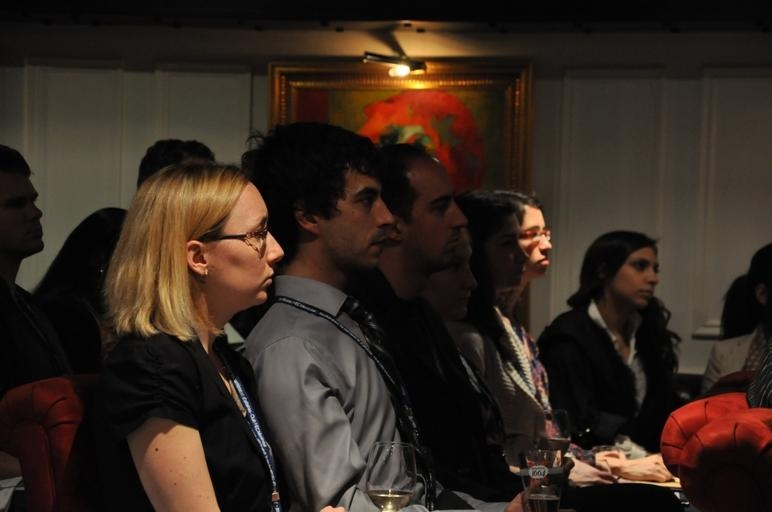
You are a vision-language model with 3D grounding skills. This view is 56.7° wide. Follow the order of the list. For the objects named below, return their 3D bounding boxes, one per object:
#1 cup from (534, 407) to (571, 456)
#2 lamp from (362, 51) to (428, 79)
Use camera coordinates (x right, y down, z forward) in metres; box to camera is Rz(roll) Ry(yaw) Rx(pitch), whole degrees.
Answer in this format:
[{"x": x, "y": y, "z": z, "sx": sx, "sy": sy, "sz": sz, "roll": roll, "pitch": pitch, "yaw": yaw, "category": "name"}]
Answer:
[{"x": 0.627, "y": 0.659, "z": 2.657, "sx": 0.150, "sy": 0.165, "sz": 0.150, "roll": -2, "pitch": -15, "yaw": 0, "category": "cup"}, {"x": 0.044, "y": -0.776, "z": 2.950, "sx": 0.318, "sy": 0.127, "sz": 0.096, "roll": 5, "pitch": 10, "yaw": 1, "category": "lamp"}]
